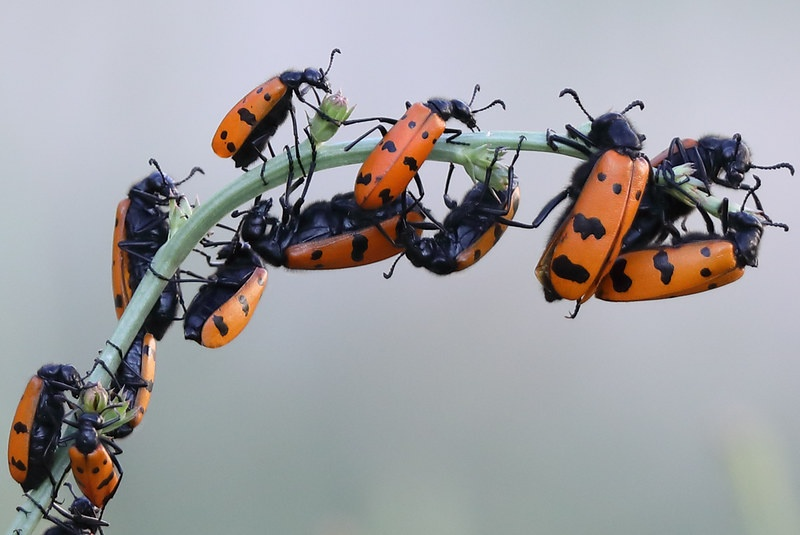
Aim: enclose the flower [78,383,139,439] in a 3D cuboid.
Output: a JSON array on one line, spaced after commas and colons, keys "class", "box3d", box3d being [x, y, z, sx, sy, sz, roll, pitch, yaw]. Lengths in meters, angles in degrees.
[{"class": "flower", "box3d": [-1.698, 0.829, 5.274, 0.299, 0.305, 0.096, 25, 15, -30]}]
